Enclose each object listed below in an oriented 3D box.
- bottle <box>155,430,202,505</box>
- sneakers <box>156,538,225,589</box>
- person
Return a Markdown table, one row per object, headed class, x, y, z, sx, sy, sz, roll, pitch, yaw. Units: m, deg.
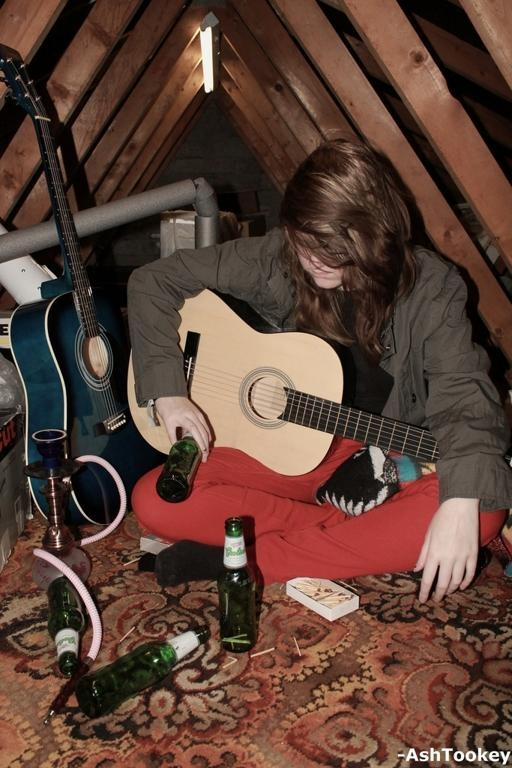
| class | x | y | z | sx | sy | sz | roll | pitch | yaw |
| --- | --- | --- | --- | --- | --- | --- | --- | --- | --- |
| bottle | -0.160 | 0.189 | 1.331 | 0.064 | 0.121 | 0.133 | 2 | 12 | 9 |
| sneakers | -0.148 | 0.407 | 1.392 | 0.149 | 0.104 | 0.050 | -3 | 13 | -13 |
| person | 0.104 | -0.043 | 1.424 | 0.930 | 0.961 | 0.519 | 5 | 13 | 22 |
